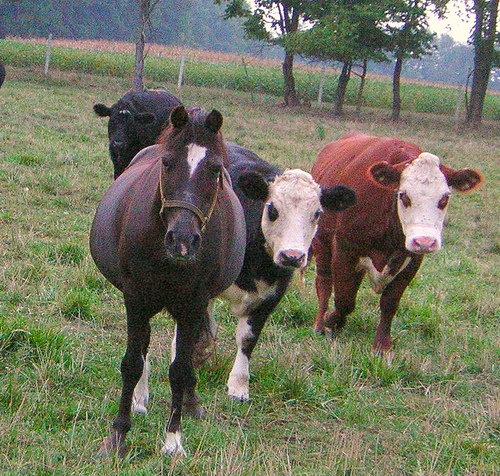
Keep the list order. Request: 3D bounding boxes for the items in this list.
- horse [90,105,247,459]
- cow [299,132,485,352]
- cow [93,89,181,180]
[{"bbox_3d":[-0.535,0.224,4.385,0.993,2.227,1.549,3,12,-14],"label":"horse"},{"bbox_3d":[1.234,0.133,6.789,0.851,1.869,2.941,9,2,-8],"label":"cow"},{"bbox_3d":[-1.769,-1.655,9.953,0.637,1.288,2.295,16,12,16],"label":"cow"}]
